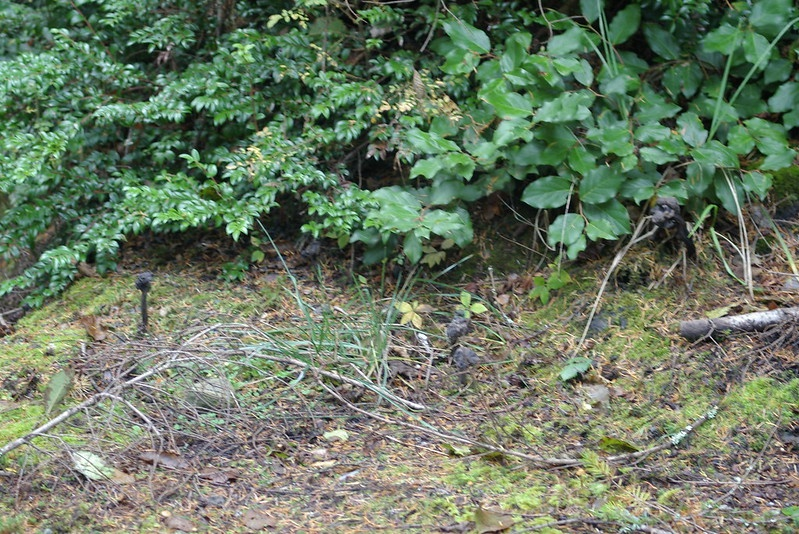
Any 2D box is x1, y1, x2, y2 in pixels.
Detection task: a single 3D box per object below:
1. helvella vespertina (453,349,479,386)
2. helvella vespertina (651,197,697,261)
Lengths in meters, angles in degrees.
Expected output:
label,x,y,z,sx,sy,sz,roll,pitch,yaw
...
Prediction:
label,x,y,z,sx,sy,sz,roll,pitch,yaw
helvella vespertina,0.459,0.672,4.586,0.165,0.068,0.113,37,94,39
helvella vespertina,1.786,-0.258,4.704,0.243,0.457,0.179,-9,33,17
